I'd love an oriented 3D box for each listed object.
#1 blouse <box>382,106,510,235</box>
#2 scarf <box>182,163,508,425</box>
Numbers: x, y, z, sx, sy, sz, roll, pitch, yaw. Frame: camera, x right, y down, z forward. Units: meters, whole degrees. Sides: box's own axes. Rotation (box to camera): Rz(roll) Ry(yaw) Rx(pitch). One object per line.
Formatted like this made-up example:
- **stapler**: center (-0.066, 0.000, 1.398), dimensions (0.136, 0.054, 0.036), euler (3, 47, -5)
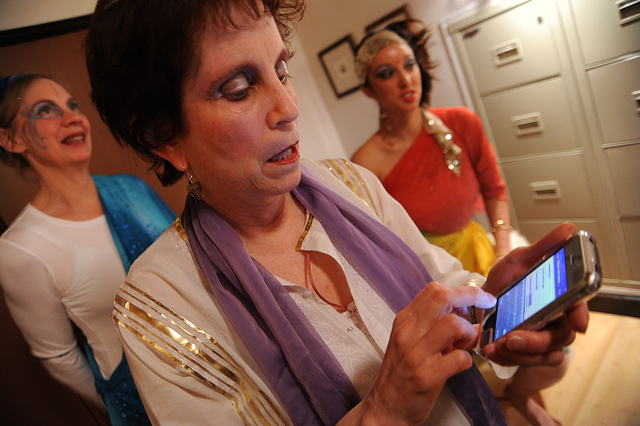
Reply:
- **blouse**: center (0.550, -0.182, 2.167), dimensions (0.495, 0.553, 0.363), euler (4, 28, -1)
- **scarf**: center (-0.038, 0.296, 1.483), dimensions (0.673, 1.110, 0.251), euler (-29, -2, -24)
